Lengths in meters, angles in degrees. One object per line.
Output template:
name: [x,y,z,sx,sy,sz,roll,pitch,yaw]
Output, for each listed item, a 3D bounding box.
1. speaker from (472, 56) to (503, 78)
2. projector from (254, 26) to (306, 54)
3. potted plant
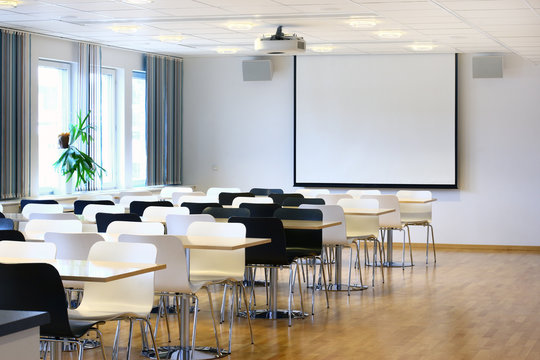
speaker: [4.544,-2.373,10.369,0.686,0.461,0.390,-1,1,-6]
projector: [0.174,-2.372,8.343,0.911,0.472,0.894,-5,12,-17]
potted plant: [-3.637,-0.542,9.296,0.474,1.553,0.816,1,3,22]
